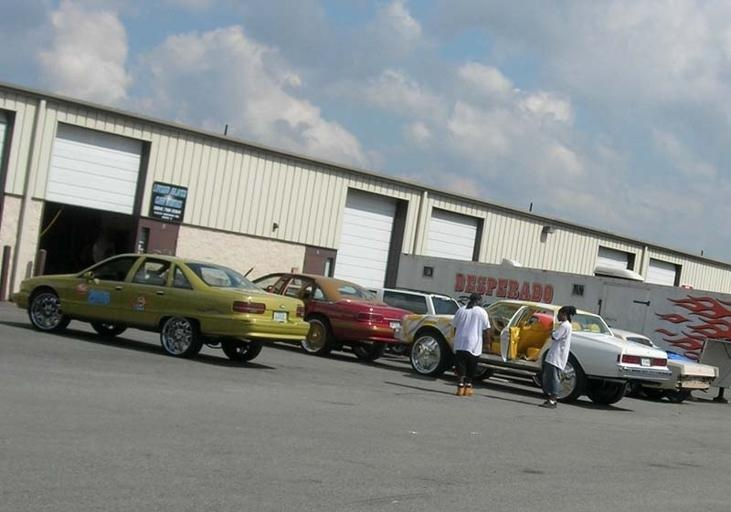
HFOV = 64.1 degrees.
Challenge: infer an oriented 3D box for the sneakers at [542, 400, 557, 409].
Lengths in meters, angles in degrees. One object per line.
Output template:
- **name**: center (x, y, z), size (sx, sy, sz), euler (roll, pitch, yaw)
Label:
- **sneakers**: center (3.607, 2.907, 11.489), size (0.272, 0.156, 0.246), euler (8, -4, 18)

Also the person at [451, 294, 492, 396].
- **person**: center (2.170, 1.811, 12.212), size (0.714, 1.416, 0.965), euler (7, -4, 10)

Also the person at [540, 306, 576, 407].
- **person**: center (3.905, 2.018, 11.931), size (0.457, 2.059, 1.053), euler (6, -4, 22)
